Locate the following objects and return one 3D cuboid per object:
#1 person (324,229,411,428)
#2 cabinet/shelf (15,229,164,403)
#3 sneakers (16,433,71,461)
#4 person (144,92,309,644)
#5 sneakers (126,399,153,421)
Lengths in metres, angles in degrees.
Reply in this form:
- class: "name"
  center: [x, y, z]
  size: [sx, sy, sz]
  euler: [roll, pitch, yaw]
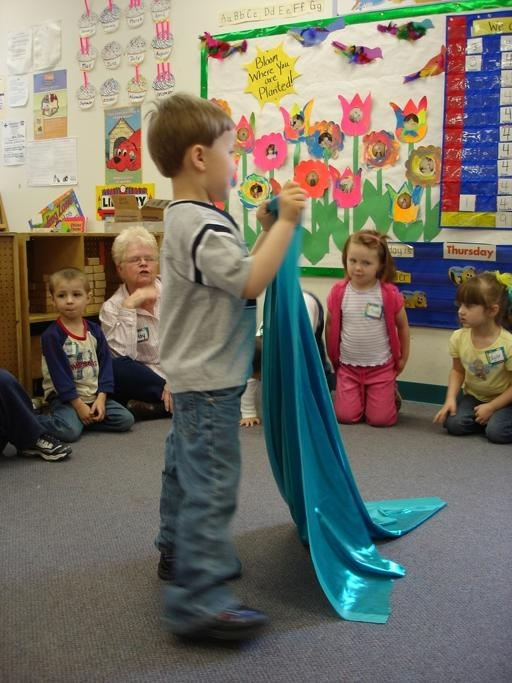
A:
- class: "person"
  center: [0.518, -0.074, 2.600]
  size: [0.398, 0.915, 0.245]
  euler: [1, 5, 14]
- class: "cabinet/shelf"
  center: [-0.813, -0.107, 2.629]
  size: [0.304, 0.808, 0.895]
  euler: [1, 7, 22]
- class: "sneakers"
  center: [-0.837, 0.410, 2.141]
  size: [0.204, 0.088, 0.088]
  euler: [1, 3, 7]
- class: "person"
  center: [-0.107, 0.027, 1.055]
  size: [0.244, 1.018, 0.374]
  euler: [-4, 6, -42]
- class: "sneakers"
  center: [-0.562, 0.329, 2.641]
  size: [0.175, 0.116, 0.057]
  euler: [-2, 17, -17]
